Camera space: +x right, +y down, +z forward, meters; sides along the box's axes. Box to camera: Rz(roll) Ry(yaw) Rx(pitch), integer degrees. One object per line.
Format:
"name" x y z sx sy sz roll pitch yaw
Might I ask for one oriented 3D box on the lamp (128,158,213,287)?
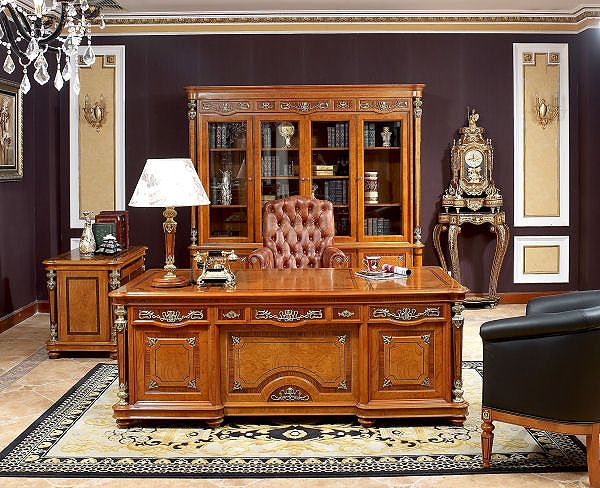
"lamp" -0.838 -0.131 4.303 0.488 0.798 0.504 2 6 30

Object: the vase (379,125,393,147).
"vase" 0.849 -1.061 6.499 0.160 0.266 0.159 -1 4 -1

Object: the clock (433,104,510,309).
"clock" 1.785 -0.384 6.857 0.791 2.012 0.537 2 10 12

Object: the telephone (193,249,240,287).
"telephone" -0.546 0.154 4.285 0.265 0.231 0.211 -1 -2 -2

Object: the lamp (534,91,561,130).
"lamp" 2.588 -1.426 6.924 0.359 0.440 0.110 0 2 -5

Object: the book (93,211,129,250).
"book" -1.622 -0.132 5.841 0.350 0.386 0.277 -2 3 -39

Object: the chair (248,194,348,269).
"chair" 0.000 -0.114 5.973 0.836 1.069 0.593 0 -2 0
